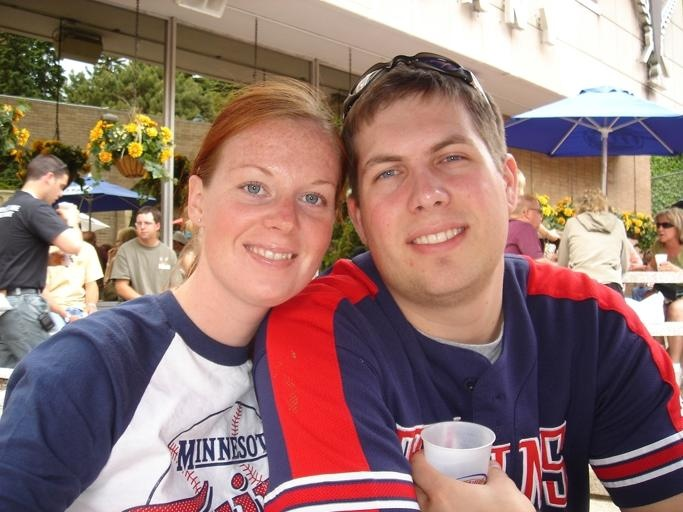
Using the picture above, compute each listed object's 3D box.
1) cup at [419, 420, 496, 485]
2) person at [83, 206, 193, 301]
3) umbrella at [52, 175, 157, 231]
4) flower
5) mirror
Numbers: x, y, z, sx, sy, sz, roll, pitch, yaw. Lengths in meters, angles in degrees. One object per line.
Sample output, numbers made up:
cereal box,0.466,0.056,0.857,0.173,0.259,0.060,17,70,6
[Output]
cup,0.402,0.669,1.949,0.204,0.164,0.211,1,8,0
person,-2.132,-0.018,5.855,1.029,1.423,0.818,1,-8,-6
umbrella,-2.993,-0.607,6.879,1.051,0.460,0.955,-3,-8,-27
flower,3.725,-0.588,8.496,1.188,0.597,1.527,18,5,40
mirror,-1.666,-0.915,4.791,3.354,1.934,0.126,15,-10,-35
